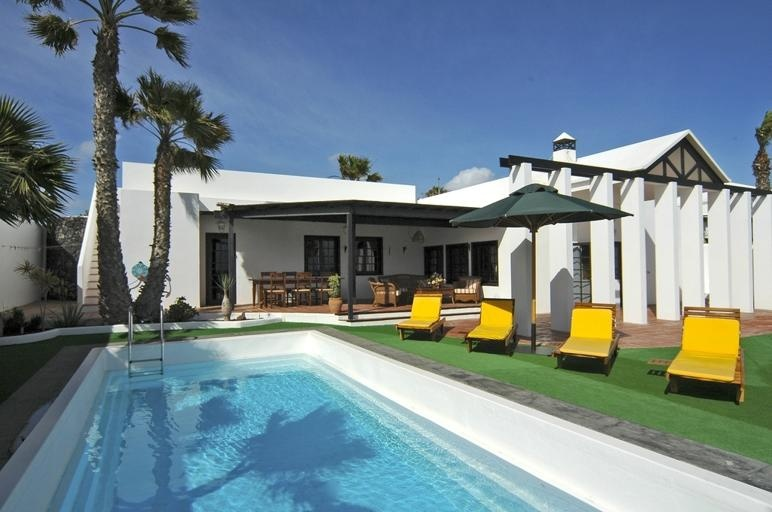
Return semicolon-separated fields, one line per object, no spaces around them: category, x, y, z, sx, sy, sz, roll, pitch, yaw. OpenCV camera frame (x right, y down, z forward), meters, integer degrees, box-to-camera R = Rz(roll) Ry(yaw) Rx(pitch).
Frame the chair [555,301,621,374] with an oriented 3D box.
chair;5.251;2.027;13.542;1.297;1.416;2.259;1;8;29

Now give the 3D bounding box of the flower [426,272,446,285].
flower;2.152;0.907;22.071;0.545;0.373;0.547;-3;-7;41

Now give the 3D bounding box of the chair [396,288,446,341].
chair;1.181;1.840;16.373;1.162;1.248;2.007;-2;2;25

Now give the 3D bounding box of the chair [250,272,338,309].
chair;-3.687;1.302;20.860;2.847;1.368;1.812;2;-3;-34

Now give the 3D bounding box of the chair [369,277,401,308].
chair;-0.043;1.441;20.647;0.931;0.910;1.731;0;-2;5

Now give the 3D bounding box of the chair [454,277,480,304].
chair;3.350;1.406;21.563;1.026;1.135;1.045;-2;-7;21

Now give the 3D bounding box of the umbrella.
umbrella;4.218;0.426;14.657;4.863;4.786;4.816;0;0;16

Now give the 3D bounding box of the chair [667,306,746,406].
chair;7.511;2.160;12.158;1.572;1.521;2.361;-1;11;32
